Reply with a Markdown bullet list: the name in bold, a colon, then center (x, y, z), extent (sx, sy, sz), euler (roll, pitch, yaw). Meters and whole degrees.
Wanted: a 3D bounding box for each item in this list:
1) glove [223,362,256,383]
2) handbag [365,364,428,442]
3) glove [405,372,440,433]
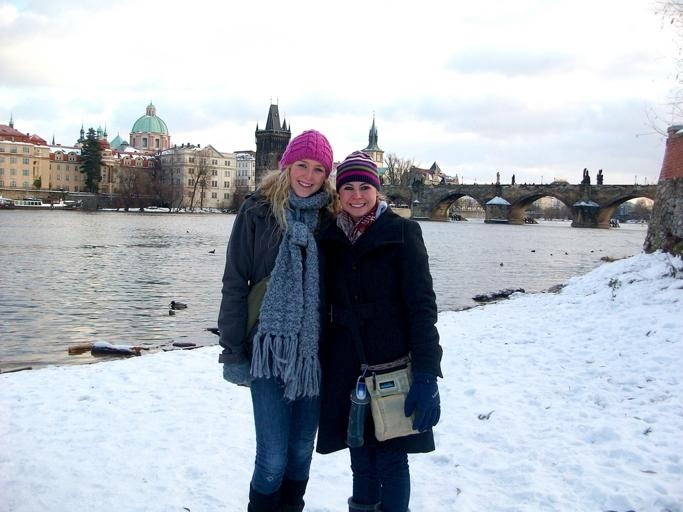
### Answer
- **glove**: center (-0.707, 0.818, 4.860), extent (0.166, 0.143, 0.156), euler (1, 11, 26)
- **handbag**: center (0.386, 0.995, 4.784), extent (0.418, 0.525, 0.215), euler (-20, -13, 1)
- **glove**: center (0.550, 1.011, 4.779), extent (0.305, 0.365, 0.116), euler (3, 1, -19)
